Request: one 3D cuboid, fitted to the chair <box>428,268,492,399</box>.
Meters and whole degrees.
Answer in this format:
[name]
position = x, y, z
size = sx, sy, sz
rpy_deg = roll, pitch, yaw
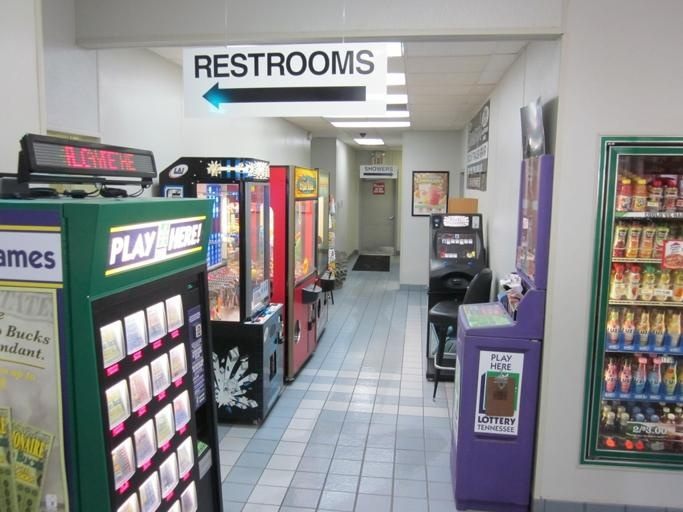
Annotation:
[chair]
position = 1.296, 0.848, 5.706
size = 0.730, 1.434, 0.906
rpy_deg = -3, 9, -23
